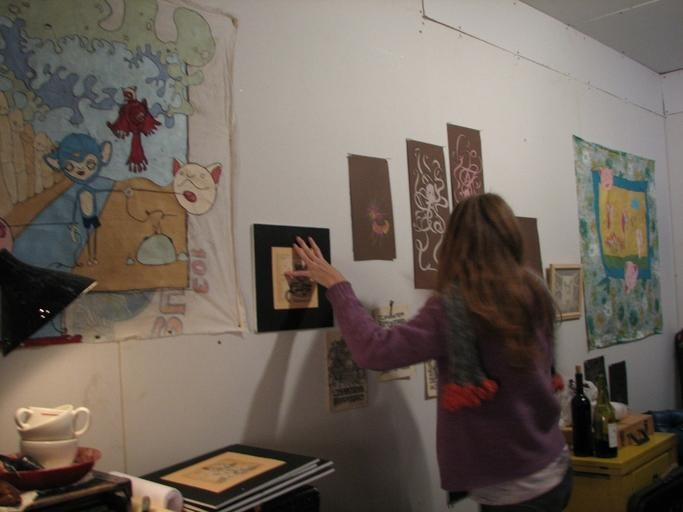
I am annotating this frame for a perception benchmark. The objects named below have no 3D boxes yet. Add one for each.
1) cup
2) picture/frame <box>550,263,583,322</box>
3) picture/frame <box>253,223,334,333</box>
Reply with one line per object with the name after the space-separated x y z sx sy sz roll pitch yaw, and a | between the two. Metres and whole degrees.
-0.783 0.489 1.502 0.172 0.134 0.143 16 -22 -42 | cup
1.296 0.200 3.138 0.293 0.324 0.022 2 -2 -34 | picture/frame
-0.198 0.091 2.112 0.392 0.544 0.036 -1 -3 -35 | picture/frame
